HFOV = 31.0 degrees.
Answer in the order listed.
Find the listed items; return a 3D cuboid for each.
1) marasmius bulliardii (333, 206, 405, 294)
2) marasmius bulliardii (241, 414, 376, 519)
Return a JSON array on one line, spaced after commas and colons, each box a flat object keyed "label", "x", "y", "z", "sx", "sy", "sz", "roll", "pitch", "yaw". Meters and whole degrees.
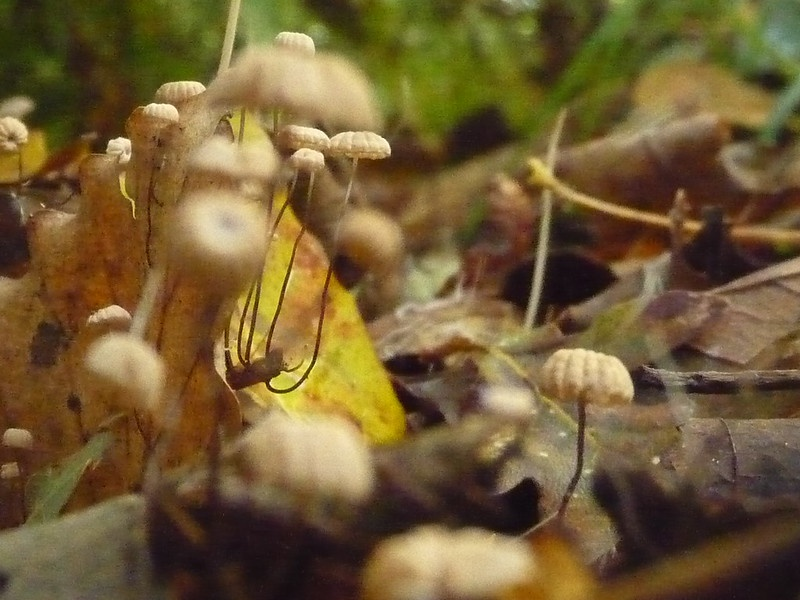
[{"label": "marasmius bulliardii", "x": -0.024, "y": -0.047, "z": 1.225, "sx": 0.066, "sy": 0.061, "sz": 0.036, "roll": -17, "pitch": 4, "yaw": -2}, {"label": "marasmius bulliardii", "x": -0.067, "y": 0.118, "z": 1.075, "sx": 0.099, "sy": 0.034, "sz": 0.109, "roll": -6, "pitch": 44, "yaw": -4}]
